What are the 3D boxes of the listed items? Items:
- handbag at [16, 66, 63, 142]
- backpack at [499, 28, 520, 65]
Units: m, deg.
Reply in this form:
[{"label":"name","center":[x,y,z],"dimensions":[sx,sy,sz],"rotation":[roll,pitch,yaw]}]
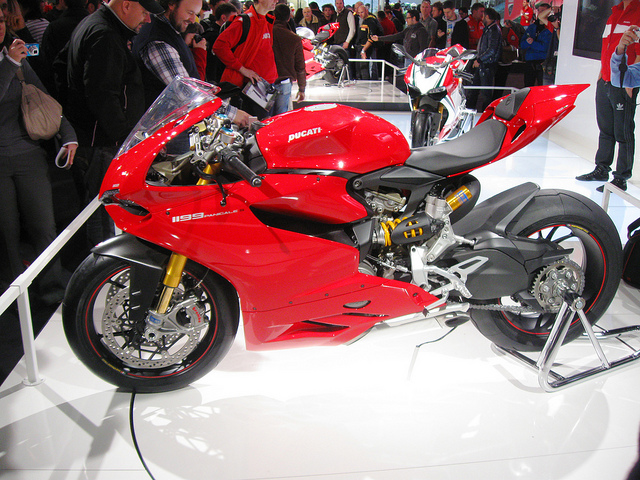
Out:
[{"label":"handbag","center":[-1.927,-0.955,2.943],"dimensions":[0.185,0.501,0.349],"rotation":[-1,44,-11]},{"label":"backpack","center":[3.841,-4.048,9.034],"dimensions":[0.387,0.694,0.707],"rotation":[1,35,6]}]
